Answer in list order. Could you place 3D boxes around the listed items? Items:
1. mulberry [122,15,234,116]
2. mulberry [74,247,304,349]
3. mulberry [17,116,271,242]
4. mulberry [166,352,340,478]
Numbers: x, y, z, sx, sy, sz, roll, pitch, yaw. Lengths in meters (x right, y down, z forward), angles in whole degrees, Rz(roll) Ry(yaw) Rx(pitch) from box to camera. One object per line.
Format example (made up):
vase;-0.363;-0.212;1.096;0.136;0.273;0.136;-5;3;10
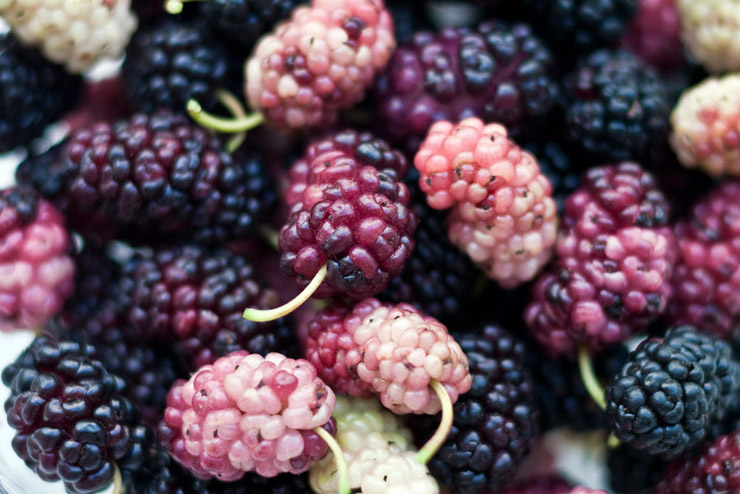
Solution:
mulberry;-0.430;-0.402;1.847;0.234;0.170;0.255;-5;16;6
mulberry;-0.373;0.067;1.718;0.326;0.163;0.207;-2;5;-44
mulberry;-0.521;-0.169;1.732;0.179;0.178;0.370;-30;-34;28
mulberry;-0.241;0.330;1.654;0.345;0.217;0.223;-4;22;9
